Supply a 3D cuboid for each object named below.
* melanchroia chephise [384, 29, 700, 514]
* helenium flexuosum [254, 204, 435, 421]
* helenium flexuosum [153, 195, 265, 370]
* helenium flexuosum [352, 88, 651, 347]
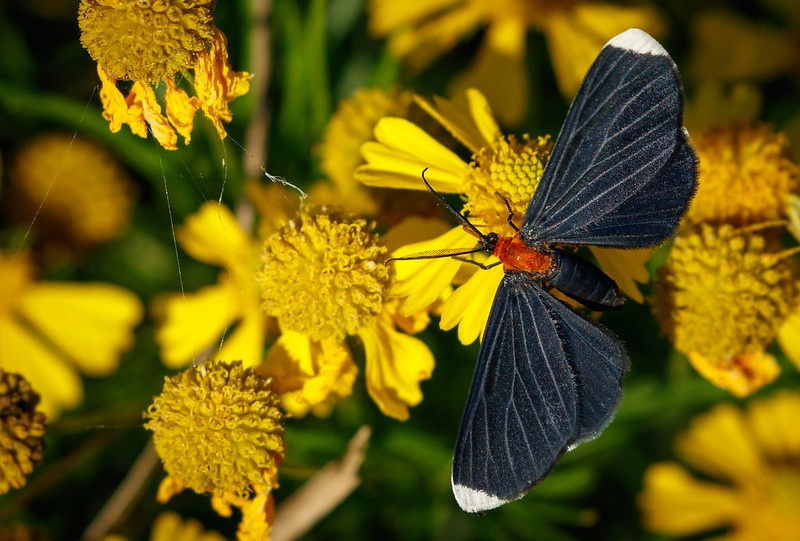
[{"bbox_3d":[0.191,0.000,1.424,0.338,0.724,0.417,-3,18,-20],"label":"melanchroia chephise"},{"bbox_3d":[-0.073,0.071,1.520,0.268,0.348,0.181,-31,6,9],"label":"helenium flexuosum"},{"bbox_3d":[-0.322,0.039,1.450,0.126,0.359,0.137,-3,17,-9],"label":"helenium flexuosum"},{"bbox_3d":[-0.038,0.002,1.508,0.378,0.216,0.316,2,7,-20],"label":"helenium flexuosum"}]
